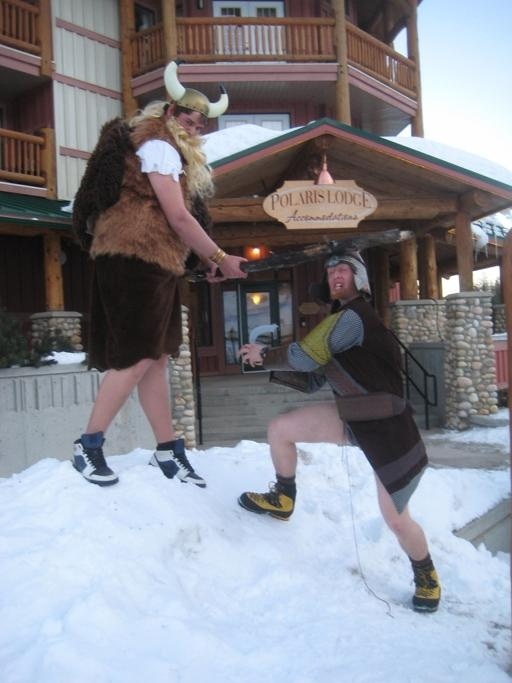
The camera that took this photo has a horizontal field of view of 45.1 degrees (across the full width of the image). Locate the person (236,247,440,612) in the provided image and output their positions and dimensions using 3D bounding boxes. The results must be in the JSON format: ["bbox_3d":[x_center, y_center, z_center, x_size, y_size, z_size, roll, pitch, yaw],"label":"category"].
[{"bbox_3d":[0.464,0.454,3.336,0.953,1.640,0.499,-3,1,25],"label":"person"}]

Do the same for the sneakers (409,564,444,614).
[{"bbox_3d":[0.868,1.261,3.134,0.138,0.198,0.215,-4,1,13],"label":"sneakers"}]

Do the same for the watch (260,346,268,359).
[{"bbox_3d":[0.056,0.057,3.471,0.045,0.055,0.049,-3,-34,27],"label":"watch"}]

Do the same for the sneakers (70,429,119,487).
[{"bbox_3d":[-0.768,0.609,3.192,0.380,0.247,0.149,7,7,44],"label":"sneakers"}]

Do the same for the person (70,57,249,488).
[{"bbox_3d":[-0.556,-0.293,3.229,0.891,2.172,0.540,-4,1,-17],"label":"person"}]

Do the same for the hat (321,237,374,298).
[{"bbox_3d":[0.469,-0.408,3.472,0.317,0.339,0.253,-8,-6,38],"label":"hat"}]
